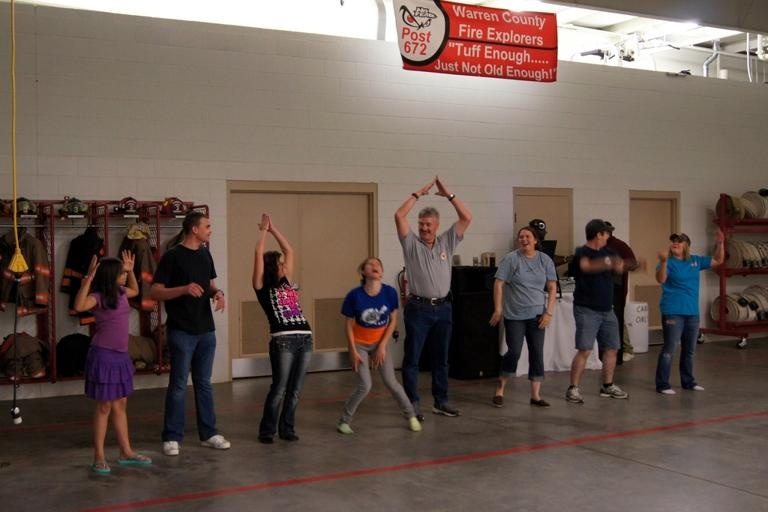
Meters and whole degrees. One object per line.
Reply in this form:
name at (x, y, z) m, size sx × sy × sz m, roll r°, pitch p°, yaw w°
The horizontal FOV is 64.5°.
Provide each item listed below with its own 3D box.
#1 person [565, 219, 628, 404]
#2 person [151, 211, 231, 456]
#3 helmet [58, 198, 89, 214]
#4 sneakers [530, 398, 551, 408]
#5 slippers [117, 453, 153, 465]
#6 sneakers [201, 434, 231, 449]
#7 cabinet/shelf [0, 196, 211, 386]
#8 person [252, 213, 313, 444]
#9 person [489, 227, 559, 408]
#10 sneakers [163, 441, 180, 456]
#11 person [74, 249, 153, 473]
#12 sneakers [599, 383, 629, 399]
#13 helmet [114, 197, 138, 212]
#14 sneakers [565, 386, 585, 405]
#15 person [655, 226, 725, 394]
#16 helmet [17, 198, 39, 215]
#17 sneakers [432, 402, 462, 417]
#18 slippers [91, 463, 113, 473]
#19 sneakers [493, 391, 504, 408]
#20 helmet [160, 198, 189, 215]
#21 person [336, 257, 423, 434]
person at (2.781, 0.699, 7.933) m, size 0.786 × 2.358 × 0.524 m, roll -1°, pitch 2°, yaw -28°
person at (-1.955, 0.761, 6.164) m, size 0.729 × 2.443 × 0.575 m, roll -1°, pitch 2°, yaw -15°
helmet at (-4.284, -0.701, 8.396) m, size 0.352 × 0.249 × 0.305 m, roll -1°, pitch 2°, yaw -24°
sneakers at (1.985, 1.860, 7.703) m, size 0.237 × 0.087 × 0.093 m, roll -1°, pitch -1°, yaw 20°
slippers at (-2.405, 1.953, 5.853) m, size 0.264 × 0.075 × 0.116 m, roll -1°, pitch 0°, yaw -1°
sneakers at (-1.743, 1.913, 6.332) m, size 0.311 × 0.127 × 0.131 m, roll -2°, pitch -3°, yaw 24°
cabinet/shelf at (-3.541, 0.437, 7.436) m, size 2.643 × 2.324 × 0.858 m, roll -1°, pitch -1°, yaw -28°
person at (-1.071, 0.765, 6.380) m, size 0.483 × 2.392 × 0.459 m, roll -2°, pitch 3°, yaw -45°
person at (1.778, 0.756, 7.732) m, size 0.845 × 2.273 × 0.530 m, roll 0°, pitch 2°, yaw 0°
sneakers at (-2.136, 1.919, 6.118) m, size 0.150 × 0.128 × 0.163 m, roll -1°, pitch 2°, yaw -19°
person at (-2.582, 0.988, 5.784) m, size 0.606 × 2.053 × 0.374 m, roll -1°, pitch 2°, yaw -28°
sneakers at (3.053, 1.798, 8.149) m, size 0.421 × 0.199 × 0.159 m, roll 0°, pitch 2°, yaw 16°
helmet at (-3.637, -0.725, 8.571) m, size 0.210 × 0.116 × 0.285 m, roll 4°, pitch -5°, yaw -24°
sneakers at (2.484, 1.801, 7.935) m, size 0.126 × 0.147 × 0.315 m, roll 1°, pitch -4°, yaw -12°
person at (4.168, 0.752, 8.327) m, size 0.808 × 2.213 × 1.248 m, roll 1°, pitch 2°, yaw 27°
helmet at (-4.762, -0.660, 8.098) m, size 0.269 × 0.227 × 0.155 m, roll 0°, pitch 2°, yaw 21°
sneakers at (0.769, 1.859, 7.400) m, size 0.348 × 0.152 × 0.129 m, roll -1°, pitch -1°, yaw 25°
slippers at (-2.644, 1.983, 5.695) m, size 0.189 × 0.075 × 0.149 m, roll -1°, pitch 2°, yaw -13°
sneakers at (1.467, 1.841, 7.786) m, size 0.164 × 0.121 × 0.431 m, roll -3°, pitch 1°, yaw 3°
helmet at (-3.037, -0.719, 8.770) m, size 0.243 × 0.146 × 0.336 m, roll 1°, pitch -3°, yaw -33°
person at (-0.081, 0.988, 6.706) m, size 0.857 × 1.935 × 0.433 m, roll -1°, pitch 2°, yaw -4°
